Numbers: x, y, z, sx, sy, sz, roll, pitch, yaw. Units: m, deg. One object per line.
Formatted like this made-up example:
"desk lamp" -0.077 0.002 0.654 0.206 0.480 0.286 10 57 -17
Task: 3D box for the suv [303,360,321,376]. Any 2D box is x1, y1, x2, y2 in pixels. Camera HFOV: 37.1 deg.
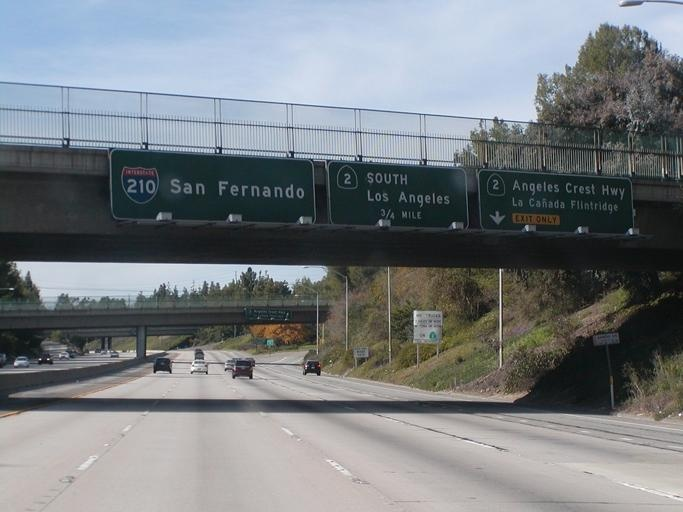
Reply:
"suv" -2.839 10.541 94.702 1.795 1.351 1.263 -4 -2 38

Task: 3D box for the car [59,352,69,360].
"car" -45.693 16.453 165.460 0.996 0.919 2.317 -1 -3 -9

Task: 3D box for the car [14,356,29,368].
"car" -35.159 11.690 110.475 1.424 1.339 2.670 0 -10 -10

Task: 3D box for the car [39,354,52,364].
"car" -38.517 13.402 131.215 1.005 1.024 1.870 2 -9 -10
